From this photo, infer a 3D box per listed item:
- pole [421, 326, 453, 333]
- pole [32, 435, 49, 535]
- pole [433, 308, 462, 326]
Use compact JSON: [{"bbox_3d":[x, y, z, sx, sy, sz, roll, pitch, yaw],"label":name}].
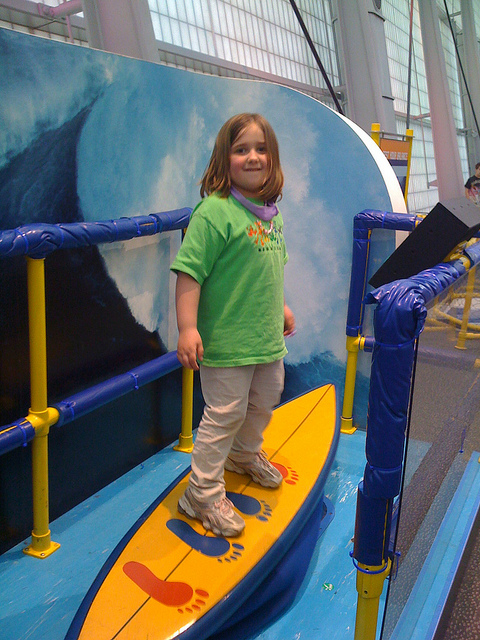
[{"bbox_3d":[0.259,0.013,0.635,0.007,0.011,0.071,8,4,38],"label":"pole"},{"bbox_3d":[-0.527,0.439,1.267,0.043,0.317,0.081,-3,11,-27],"label":"pole"},{"bbox_3d":[0.304,-0.004,0.709,0.043,0.008,0.009,31,-2,-42],"label":"pole"}]
